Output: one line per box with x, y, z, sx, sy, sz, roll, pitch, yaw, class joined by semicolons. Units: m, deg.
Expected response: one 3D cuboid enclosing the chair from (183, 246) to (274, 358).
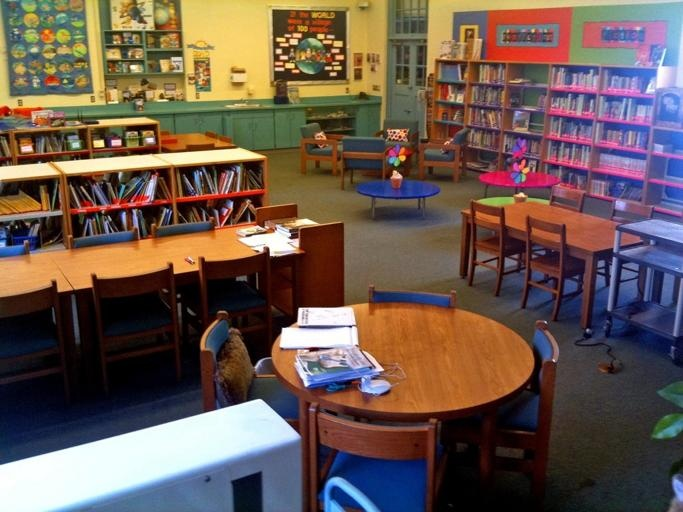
-0.874;0.373;4.185;0.708;0.770;0.661;-2;5;18;chair

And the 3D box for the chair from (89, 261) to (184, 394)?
-1.571;0.495;3.900;0.795;0.856;0.770;1;12;8;chair

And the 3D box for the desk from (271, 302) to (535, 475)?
0.407;0.773;2.925;1.247;0.625;1.134;1;20;6;desk

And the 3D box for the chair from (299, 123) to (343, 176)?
-0.291;-2.196;10.708;0.915;0.811;1.058;6;19;11;chair

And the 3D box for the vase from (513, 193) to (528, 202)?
2.173;-0.693;6.340;0.150;0.093;0.145;5;11;44;vase

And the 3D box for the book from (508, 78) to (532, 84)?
3.184;-3.127;9.334;0.197;0.074;0.204;-10;17;-32;book

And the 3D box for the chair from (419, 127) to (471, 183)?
2.040;-1.967;10.072;0.909;0.818;1.107;7;19;20;chair

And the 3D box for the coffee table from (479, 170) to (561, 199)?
2.519;-1.104;7.519;0.954;0.212;0.939;10;20;34;coffee table

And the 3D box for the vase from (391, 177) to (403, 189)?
0.822;-1.058;7.650;0.158;0.135;0.155;-8;12;-39;vase

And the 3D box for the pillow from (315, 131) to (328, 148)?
-0.405;-2.298;10.379;0.108;0.308;0.339;-20;20;18;pillow

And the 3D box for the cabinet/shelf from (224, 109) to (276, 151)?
-2.235;-2.897;12.116;1.646;0.909;0.896;-7;15;-28;cabinet/shelf

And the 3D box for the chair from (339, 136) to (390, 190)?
0.463;-1.730;9.657;1.067;0.912;1.096;13;21;33;chair

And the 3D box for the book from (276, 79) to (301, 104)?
-1.289;-3.883;12.336;0.720;0.561;0.349;-6;13;-30;book
